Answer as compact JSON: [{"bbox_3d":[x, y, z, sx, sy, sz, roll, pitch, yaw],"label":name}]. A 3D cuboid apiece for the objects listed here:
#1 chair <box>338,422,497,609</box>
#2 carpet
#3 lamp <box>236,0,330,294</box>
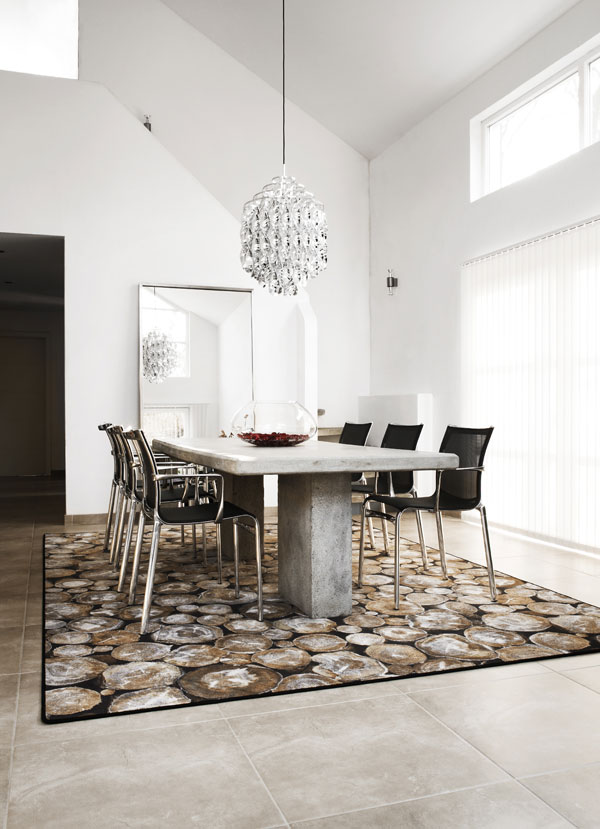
[{"bbox_3d":[0.550,0.451,3.572,0.703,1.282,0.823,3,-4,-20],"label":"chair"},{"bbox_3d":[-0.004,0.852,3.182,2.417,0.068,2.357,1,-3,-17],"label":"carpet"},{"bbox_3d":[-0.096,-1.187,3.833,0.496,0.950,0.252,1,-2,-4],"label":"lamp"}]
